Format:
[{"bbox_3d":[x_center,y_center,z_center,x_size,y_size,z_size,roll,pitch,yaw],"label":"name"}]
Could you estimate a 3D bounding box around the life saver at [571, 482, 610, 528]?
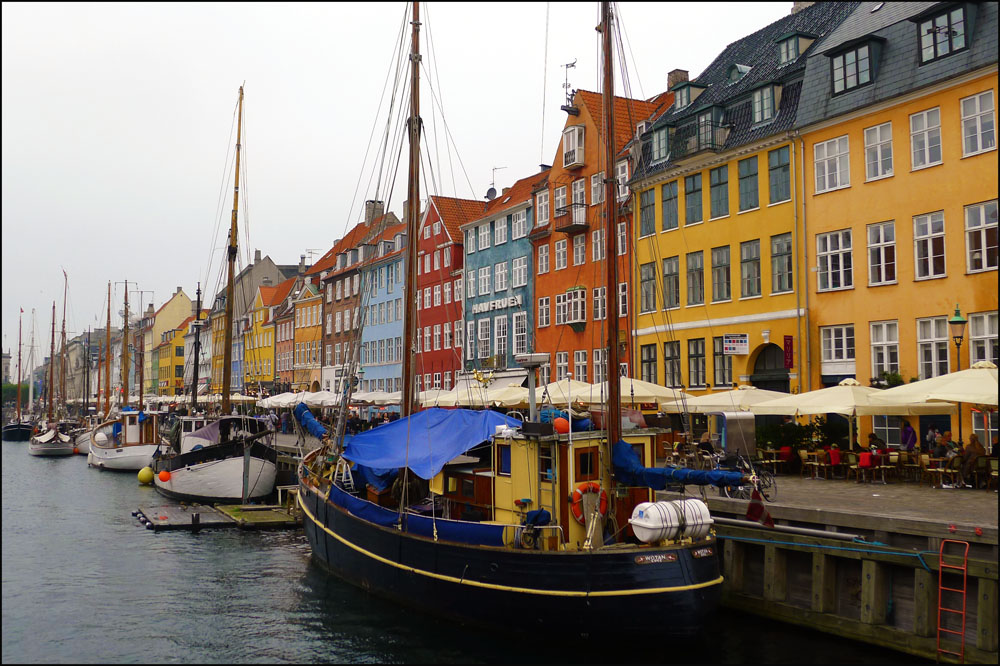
[{"bbox_3d":[2.482,4.672,30.003,1.138,1.099,0.207,3,-8,-22],"label":"life saver"}]
